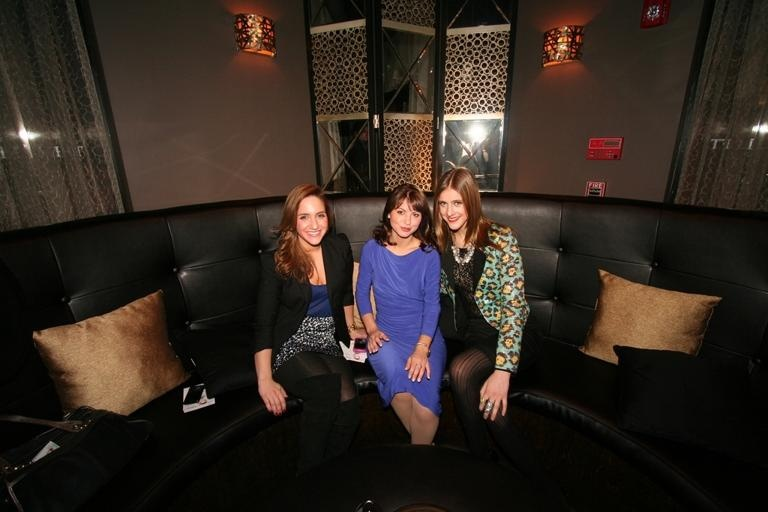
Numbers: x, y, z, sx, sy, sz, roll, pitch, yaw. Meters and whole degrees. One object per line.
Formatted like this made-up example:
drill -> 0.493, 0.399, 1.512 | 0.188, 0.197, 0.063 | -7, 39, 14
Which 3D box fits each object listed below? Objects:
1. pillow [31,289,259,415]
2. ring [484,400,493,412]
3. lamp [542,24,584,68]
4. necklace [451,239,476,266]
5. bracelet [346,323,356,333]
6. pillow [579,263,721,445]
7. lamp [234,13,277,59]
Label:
pillow -> -1.385, 0.562, 2.677 | 0.512, 0.465, 0.261 | -29, 30, -31
ring -> 0.596, 0.837, 2.674 | 0.047, 0.064, 0.025 | 7, 18, 14
lamp -> 1.664, -1.965, 4.484 | 0.344, 0.308, 0.352 | 1, 9, 18
necklace -> 0.480, -0.035, 2.939 | 0.117, 0.125, 0.044 | -5, -2, 27
bracelet -> -0.211, 0.472, 3.107 | 0.040, 0.046, 0.019 | -3, 3, 13
pillow -> 1.546, 0.576, 2.691 | 0.870, 0.884, 0.276 | 14, -5, 28
lamp -> -1.130, -1.970, 4.229 | 0.344, 0.295, 0.190 | -12, 25, -39
